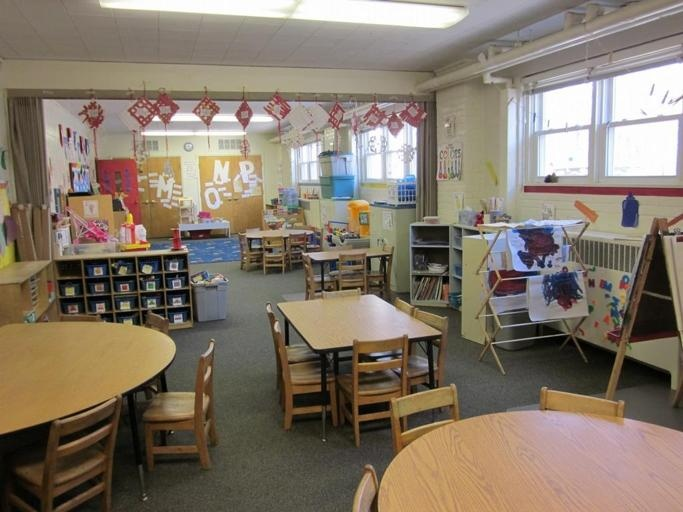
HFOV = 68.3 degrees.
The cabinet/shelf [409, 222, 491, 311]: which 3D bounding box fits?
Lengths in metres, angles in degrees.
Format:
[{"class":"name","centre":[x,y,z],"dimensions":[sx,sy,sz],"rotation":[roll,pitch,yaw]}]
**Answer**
[{"class":"cabinet/shelf","centre":[1.535,0.171,7.131],"dimensions":[0.372,1.274,1.239],"rotation":[-1,3,-39]}]

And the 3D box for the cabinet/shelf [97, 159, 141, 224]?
[{"class":"cabinet/shelf","centre":[-6.395,-1.974,14.397],"dimensions":[1.057,1.527,0.467],"rotation":[-7,10,-27]}]

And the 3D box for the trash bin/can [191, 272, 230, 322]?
[{"class":"trash bin/can","centre":[-1.956,0.550,7.586],"dimensions":[0.671,0.814,0.620],"rotation":[-2,5,-27]}]

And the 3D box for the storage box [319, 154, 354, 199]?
[{"class":"storage box","centre":[-0.090,-1.852,11.662],"dimensions":[0.985,1.213,0.704],"rotation":[-2,5,-21]}]

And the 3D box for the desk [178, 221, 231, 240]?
[{"class":"desk","centre":[-4.438,-0.853,16.280],"dimensions":[1.510,0.593,1.521],"rotation":[-6,9,-17]}]

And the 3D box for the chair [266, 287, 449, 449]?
[{"class":"chair","centre":[0.128,0.805,4.685],"dimensions":[1.035,0.724,1.601],"rotation":[-2,11,-17]}]

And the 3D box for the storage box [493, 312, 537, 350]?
[{"class":"storage box","centre":[2.067,0.879,6.061],"dimensions":[0.475,0.602,0.501],"rotation":[-2,0,35]}]

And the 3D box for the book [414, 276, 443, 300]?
[{"class":"book","centre":[1.358,0.518,7.836],"dimensions":[0.366,0.395,0.126],"rotation":[3,-2,37]}]
